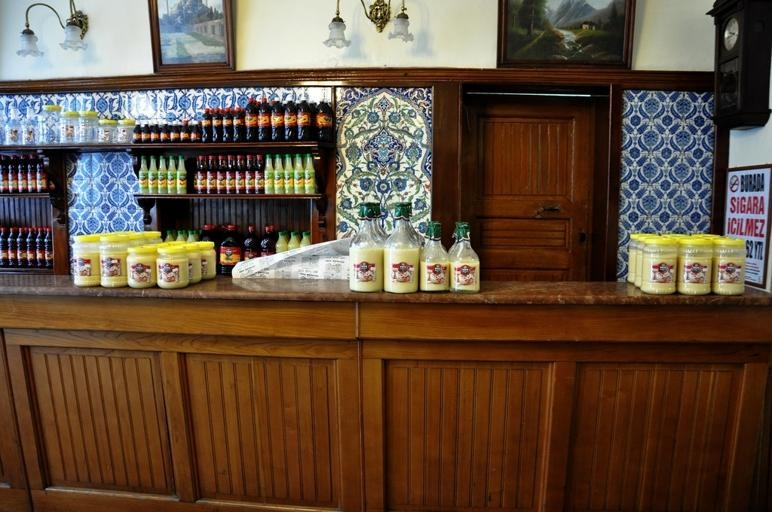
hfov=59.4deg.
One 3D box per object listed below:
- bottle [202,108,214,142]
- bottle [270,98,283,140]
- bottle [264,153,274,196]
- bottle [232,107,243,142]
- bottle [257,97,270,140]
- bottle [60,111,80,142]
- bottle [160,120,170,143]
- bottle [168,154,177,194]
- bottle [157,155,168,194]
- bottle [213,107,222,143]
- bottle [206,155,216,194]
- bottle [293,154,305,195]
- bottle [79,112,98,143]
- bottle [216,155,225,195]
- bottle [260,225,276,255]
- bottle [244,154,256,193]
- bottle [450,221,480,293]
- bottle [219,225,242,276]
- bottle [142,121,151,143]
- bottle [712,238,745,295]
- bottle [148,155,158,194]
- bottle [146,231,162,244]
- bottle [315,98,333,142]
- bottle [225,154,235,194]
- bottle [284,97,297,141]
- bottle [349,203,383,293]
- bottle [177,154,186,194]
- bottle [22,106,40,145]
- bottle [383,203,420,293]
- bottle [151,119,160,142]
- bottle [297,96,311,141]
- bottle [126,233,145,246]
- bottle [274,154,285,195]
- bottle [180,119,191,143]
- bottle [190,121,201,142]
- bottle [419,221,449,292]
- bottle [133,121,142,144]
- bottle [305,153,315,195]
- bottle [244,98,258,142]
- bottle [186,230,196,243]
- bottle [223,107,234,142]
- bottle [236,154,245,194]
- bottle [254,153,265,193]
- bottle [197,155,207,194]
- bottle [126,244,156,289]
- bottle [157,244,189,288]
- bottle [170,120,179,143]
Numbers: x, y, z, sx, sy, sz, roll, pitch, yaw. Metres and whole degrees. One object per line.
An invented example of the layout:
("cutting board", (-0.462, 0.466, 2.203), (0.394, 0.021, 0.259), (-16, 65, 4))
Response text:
("bottle", (-1.434, -1.041, 5.334), (0.104, 0.265, 0.113), (-2, 7, 0))
("bottle", (-0.857, -1.064, 5.280), (0.098, 0.303, 0.074), (0, 7, 16))
("bottle", (-0.942, -0.655, 5.371), (0.080, 0.317, 0.130), (-3, 7, -7))
("bottle", (-1.174, -1.038, 5.330), (0.092, 0.248, 0.088), (-2, 7, 0))
("bottle", (-0.962, -1.065, 5.288), (0.107, 0.303, 0.072), (-3, 7, -10))
("bottle", (-2.567, -1.040, 5.438), (0.184, 0.246, 0.056), (-1, 7, 3))
("bottle", (-1.777, -0.987, 5.379), (0.078, 0.129, 0.051), (-1, 7, 7))
("bottle", (-1.751, -0.668, 5.470), (0.082, 0.299, 0.128), (-4, 7, -16))
("bottle", (-1.825, -0.663, 5.463), (0.082, 0.303, 0.160), (-4, 8, -18))
("bottle", (-1.347, -1.042, 5.341), (0.086, 0.250, 0.062), (-3, 7, -7))
("bottle", (-1.425, -0.671, 5.450), (0.088, 0.299, 0.141), (-4, 7, -13))
("bottle", (-0.702, -0.656, 5.367), (0.089, 0.317, 0.169), (-3, 7, -7))
("bottle", (-2.420, -1.046, 5.440), (0.150, 0.249, 0.084), (-5, 8, -22))
("bottle", (-1.340, -0.669, 5.436), (0.080, 0.298, 0.128), (-4, 7, -13))
("bottle", (-0.975, -0.138, 5.526), (0.138, 0.229, 0.263), (-3, 7, -8))
("bottle", (-1.096, -0.663, 5.388), (0.089, 0.294, 0.103), (-2, 7, -3))
("bottle", (0.454, 0.002, 3.923), (0.171, 0.401, 0.171), (-2, 7, 0))
("bottle", (-1.286, -0.057, 5.493), (0.192, 0.397, 0.227), (-4, 7, -13))
("bottle", (-1.925, -0.981, 5.378), (0.067, 0.146, 0.150), (-4, 8, -19))
("bottle", (1.952, 0.056, 3.829), (0.152, 0.314, 0.168), (2, 8, 31))
("bottle", (-1.905, -0.664, 5.466), (0.084, 0.304, 0.143), (-4, 8, -19))
("bottle", (-1.464, -0.120, 4.216), (0.083, 0.068, 0.078), (1, 1, -16))
("bottle", (-0.485, -1.072, 5.364), (0.174, 0.313, 0.111), (-4, 7, -17))
("bottle", (-1.258, -0.668, 5.427), (0.089, 0.298, 0.128), (-3, 7, -6))
("bottle", (-0.751, -1.063, 5.291), (0.082, 0.297, 0.119), (1, 8, 22))
("bottle", (-0.116, -0.055, 3.925), (0.220, 0.508, 0.189), (-2, 7, -4))
("bottle", (-1.670, -0.663, 5.456), (0.082, 0.304, 0.191), (-3, 7, -11))
("bottle", (-2.945, -1.074, 5.553), (0.136, 0.317, 0.350), (-5, 8, -26))
("bottle", (0.090, -0.056, 3.937), (0.221, 0.513, 0.228), (-2, 7, 0))
("bottle", (-1.855, -0.979, 5.367), (0.081, 0.145, 0.138), (-4, 7, -13))
("bottle", (-0.648, -1.069, 5.311), (0.100, 0.306, 0.146), (0, 7, 16))
("bottle", (-1.520, -0.106, 4.084), (0.086, 0.071, 0.082), (5, 12, 16))
("bottle", (-0.859, -0.655, 5.369), (0.090, 0.317, 0.133), (-3, 7, -9))
("bottle", (-1.612, -1.003, 5.366), (0.091, 0.165, 0.075), (-4, 7, -14))
("bottle", (-1.522, -0.989, 5.369), (0.068, 0.136, 0.104), (-1, 7, 11))
("bottle", (0.281, 0.001, 3.904), (0.170, 0.400, 0.133), (-1, 7, 11))
("bottle", (-1.999, -0.986, 5.387), (0.069, 0.152, 0.150), (-5, 8, -21))
("bottle", (-0.612, -0.655, 5.366), (0.091, 0.316, 0.176), (-3, 7, -7))
("bottle", (-1.066, -1.072, 5.300), (0.114, 0.335, 0.106), (-2, 7, 0))
("bottle", (-1.586, -0.170, 5.471), (0.072, 0.076, 0.106), (-3, 7, -12))
("bottle", (-1.263, -1.040, 5.338), (0.085, 0.248, 0.090), (-2, 7, 0))
("bottle", (-1.182, -0.666, 5.410), (0.083, 0.296, 0.103), (-4, 7, -12))
("bottle", (-1.023, -0.660, 5.392), (0.089, 0.299, 0.124), (-3, 7, -10))
("bottle", (-1.498, -0.671, 5.450), (0.085, 0.299, 0.126), (-4, 7, -14))
("bottle", (-1.467, 0.062, 4.028), (0.195, 0.240, 0.184), (3, 11, -1))
("bottle", (-1.285, 0.064, 4.025), (0.201, 0.232, 0.203), (-6, 11, -36))
("bottle", (-1.702, -0.991, 5.383), (0.069, 0.135, 0.071), (-2, 7, 0))
